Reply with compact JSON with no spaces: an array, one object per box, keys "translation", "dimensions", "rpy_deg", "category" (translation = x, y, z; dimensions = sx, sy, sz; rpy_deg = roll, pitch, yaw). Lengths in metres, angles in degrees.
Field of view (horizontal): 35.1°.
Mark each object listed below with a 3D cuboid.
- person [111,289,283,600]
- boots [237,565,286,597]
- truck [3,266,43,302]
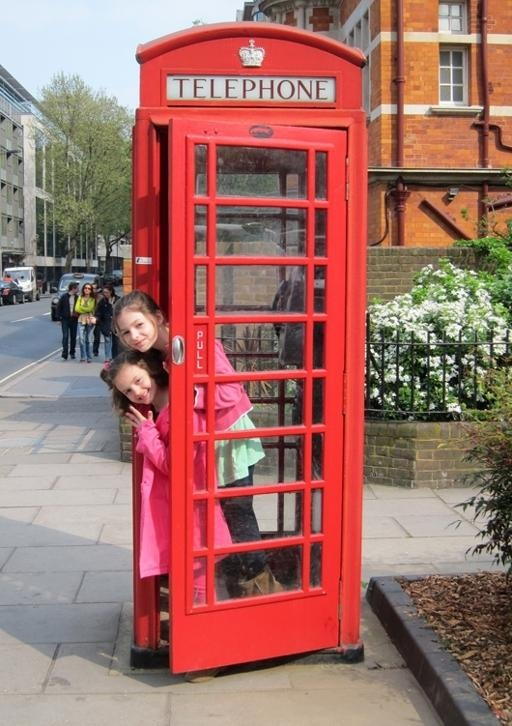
[{"translation":[-0.221,0.337,3.369],"dimensions":[0.666,1.265,0.287],"rpy_deg":[0,4,5],"category":"person"},{"translation":[0.030,0.932,3.378],"dimensions":[0.143,0.111,0.097],"rpy_deg":[-18,-5,-46],"category":"boots"},{"translation":[-14.859,-5.149,51.419],"dimensions":[1.378,1.738,2.992],"rpy_deg":[-2,0,-6],"category":"truck"}]
